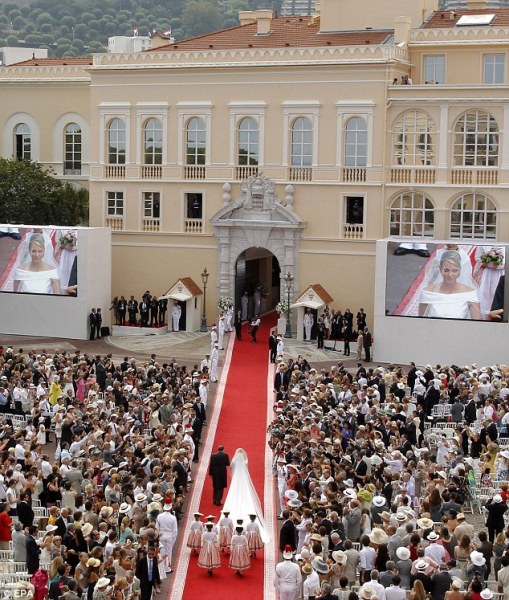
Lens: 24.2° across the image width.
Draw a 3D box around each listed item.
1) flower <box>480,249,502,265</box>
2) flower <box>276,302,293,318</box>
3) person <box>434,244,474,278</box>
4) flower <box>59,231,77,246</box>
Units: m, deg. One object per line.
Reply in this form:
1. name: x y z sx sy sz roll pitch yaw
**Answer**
1. flower: 8.421 -1.443 42.249 0.538 0.439 0.551 0 6 -15
2. flower: 1.034 0.472 49.053 0.531 0.609 0.552 7 8 36
3. person: 7.177 -1.229 42.901 1.083 1.137 1.142 12 28 21
4. flower: -7.463 -2.381 47.589 0.520 0.583 0.416 -18 -7 -8
